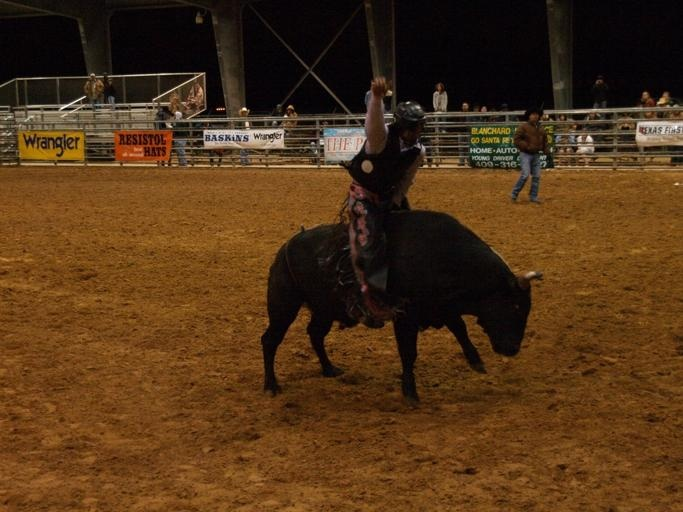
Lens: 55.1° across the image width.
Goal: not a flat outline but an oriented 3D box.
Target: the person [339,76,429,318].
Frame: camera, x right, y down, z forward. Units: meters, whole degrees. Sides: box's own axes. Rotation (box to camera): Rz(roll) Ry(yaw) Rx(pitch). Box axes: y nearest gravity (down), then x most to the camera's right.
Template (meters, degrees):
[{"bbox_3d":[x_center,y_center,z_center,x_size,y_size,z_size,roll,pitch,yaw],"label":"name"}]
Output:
[{"bbox_3d":[0.344,-0.419,5.346,0.601,1.912,0.515,1,12,2],"label":"person"}]

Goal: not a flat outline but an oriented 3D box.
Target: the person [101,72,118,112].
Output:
[{"bbox_3d":[-9.791,-6.851,27.372,0.481,1.462,1.301,-3,11,-17],"label":"person"}]

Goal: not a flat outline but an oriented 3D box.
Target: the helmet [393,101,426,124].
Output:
[{"bbox_3d":[0.537,-1.148,5.248,0.242,0.183,0.207,1,10,0],"label":"helmet"}]

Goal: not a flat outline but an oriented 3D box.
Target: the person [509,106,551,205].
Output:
[{"bbox_3d":[3.978,-2.116,13.851,0.697,1.977,0.460,2,12,8],"label":"person"}]
